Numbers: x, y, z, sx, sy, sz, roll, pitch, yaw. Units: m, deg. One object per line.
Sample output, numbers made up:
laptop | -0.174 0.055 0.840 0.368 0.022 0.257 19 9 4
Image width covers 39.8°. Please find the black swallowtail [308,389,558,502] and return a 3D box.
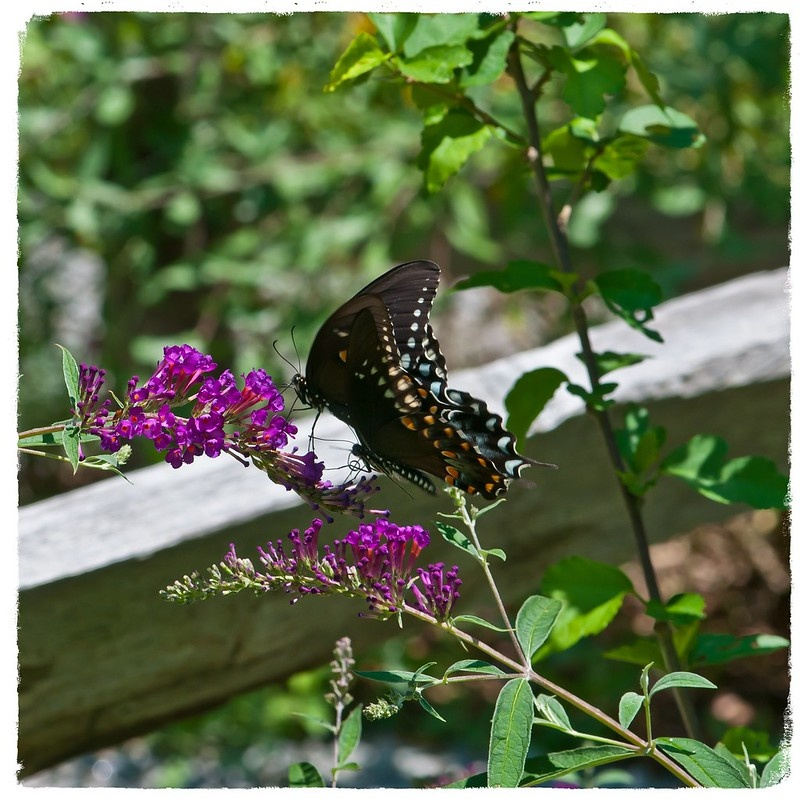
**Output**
black swallowtail | 0.046 0.053 2.419 0.592 0.253 0.316 -1 6 -18

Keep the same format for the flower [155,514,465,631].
flower | -0.119 0.331 2.161 0.649 0.180 0.226 3 -4 2

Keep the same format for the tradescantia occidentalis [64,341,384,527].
tradescantia occidentalis | -0.341 0.061 2.223 0.876 0.212 0.238 10 -4 -2
